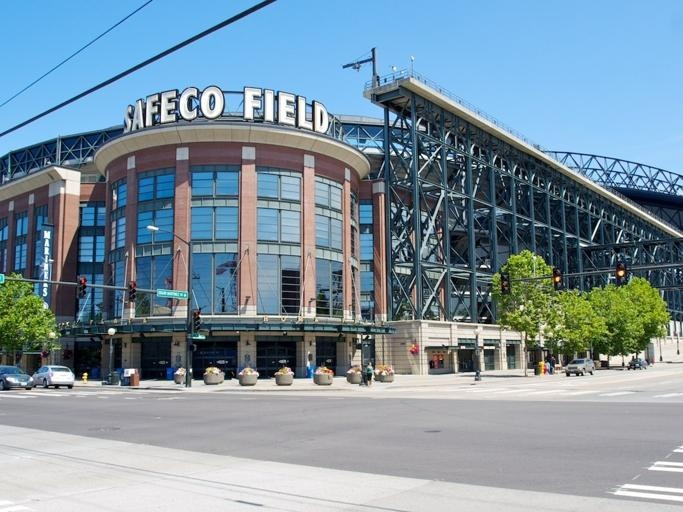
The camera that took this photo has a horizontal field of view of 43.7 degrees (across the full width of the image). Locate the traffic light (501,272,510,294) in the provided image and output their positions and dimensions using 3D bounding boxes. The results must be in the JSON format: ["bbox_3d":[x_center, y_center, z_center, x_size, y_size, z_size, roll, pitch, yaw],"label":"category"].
[{"bbox_3d":[9.729,1.633,51.014,0.409,1.253,0.783,-1,-11,4],"label":"traffic light"}]

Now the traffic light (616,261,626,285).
[{"bbox_3d":[15.523,0.944,47.347,0.532,1.269,1.486,-4,-12,20],"label":"traffic light"}]

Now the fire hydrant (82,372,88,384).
[{"bbox_3d":[-19.769,9.373,65.357,0.295,0.859,1.686,3,-12,-15],"label":"fire hydrant"}]

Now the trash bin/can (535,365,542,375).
[{"bbox_3d":[17.802,10.422,77.995,0.472,0.934,3.009,-3,-12,11],"label":"trash bin/can"}]

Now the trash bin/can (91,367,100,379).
[{"bbox_3d":[-22.649,10.725,78.036,0.748,0.748,0.407,-3,-6,25],"label":"trash bin/can"}]

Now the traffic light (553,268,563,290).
[{"bbox_3d":[12.416,1.256,49.150,0.453,1.135,1.212,-3,-12,13],"label":"traffic light"}]

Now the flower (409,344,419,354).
[{"bbox_3d":[6.361,8.313,76.215,0.431,0.944,1.100,10,-15,-41],"label":"flower"}]
